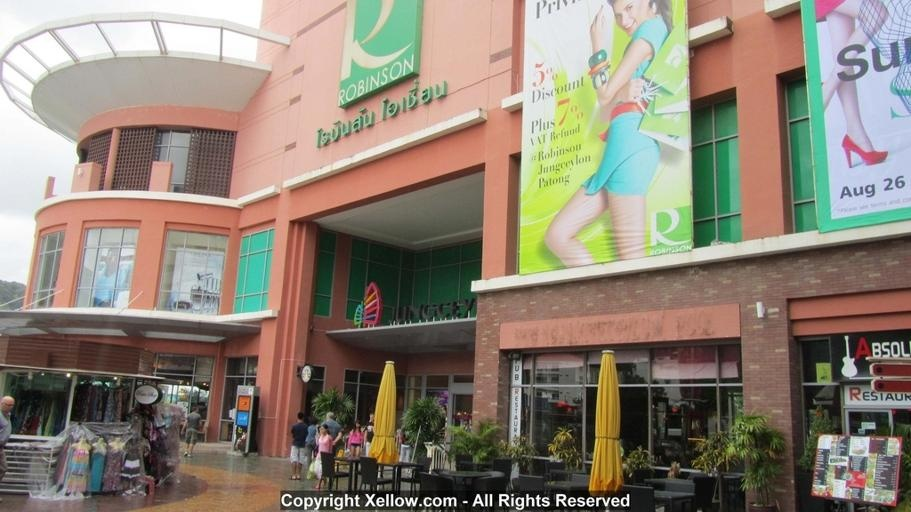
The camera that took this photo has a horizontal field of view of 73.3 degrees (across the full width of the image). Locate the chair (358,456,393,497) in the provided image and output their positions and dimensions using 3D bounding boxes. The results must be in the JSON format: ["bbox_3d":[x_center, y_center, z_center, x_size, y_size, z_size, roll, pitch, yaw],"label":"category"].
[{"bbox_3d":[-2.904,7.906,22.252,1.173,1.287,3.264,3,-16,-7],"label":"chair"}]
